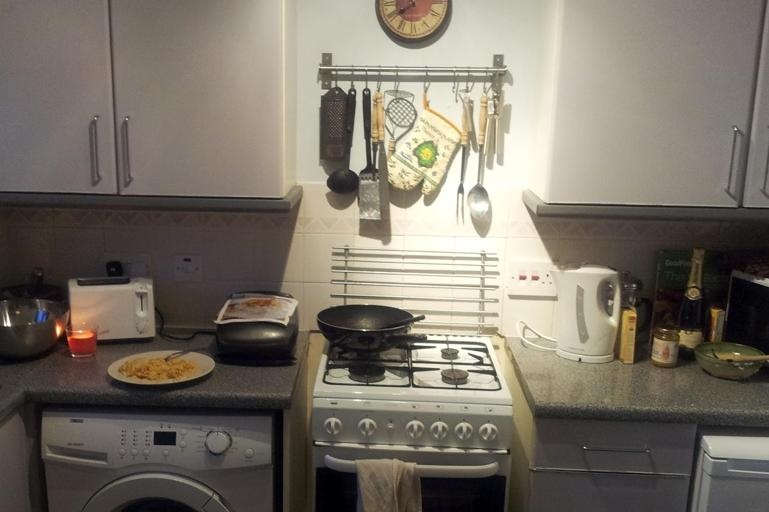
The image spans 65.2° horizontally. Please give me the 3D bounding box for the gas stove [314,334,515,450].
[{"bbox_3d":[0.122,0.523,2.884,1.088,0.298,1.078,2,9,0],"label":"gas stove"}]

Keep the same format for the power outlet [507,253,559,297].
[{"bbox_3d":[0.685,0.098,2.839,0.199,0.165,0.067,3,13,24],"label":"power outlet"}]

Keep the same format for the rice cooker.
[{"bbox_3d":[-0.507,0.265,2.672,0.329,0.268,0.378,3,17,1],"label":"rice cooker"}]

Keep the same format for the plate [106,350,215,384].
[{"bbox_3d":[-0.903,0.454,2.427,0.397,0.059,0.259,-6,15,-21],"label":"plate"}]

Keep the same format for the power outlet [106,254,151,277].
[{"bbox_3d":[-1.206,0.049,2.819,0.205,0.097,0.072,-3,14,-10],"label":"power outlet"}]

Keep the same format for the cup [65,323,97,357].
[{"bbox_3d":[-1.286,0.354,2.554,0.121,0.112,0.136,1,3,-10],"label":"cup"}]

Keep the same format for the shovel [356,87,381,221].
[{"bbox_3d":[-0.078,-0.456,2.733,0.100,0.596,0.101,-6,14,-21],"label":"shovel"}]

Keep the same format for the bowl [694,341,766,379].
[{"bbox_3d":[1.479,0.451,2.549,0.310,0.108,0.189,2,14,12],"label":"bowl"}]

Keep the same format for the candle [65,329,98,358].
[{"bbox_3d":[-1.286,0.370,2.548,0.122,0.107,0.115,5,7,32],"label":"candle"}]

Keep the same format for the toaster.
[{"bbox_3d":[-1.200,0.216,2.735,0.398,0.339,0.269,0,17,-7],"label":"toaster"}]

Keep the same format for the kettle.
[{"bbox_3d":[0.877,0.241,2.702,0.300,0.421,0.235,2,25,2],"label":"kettle"}]
